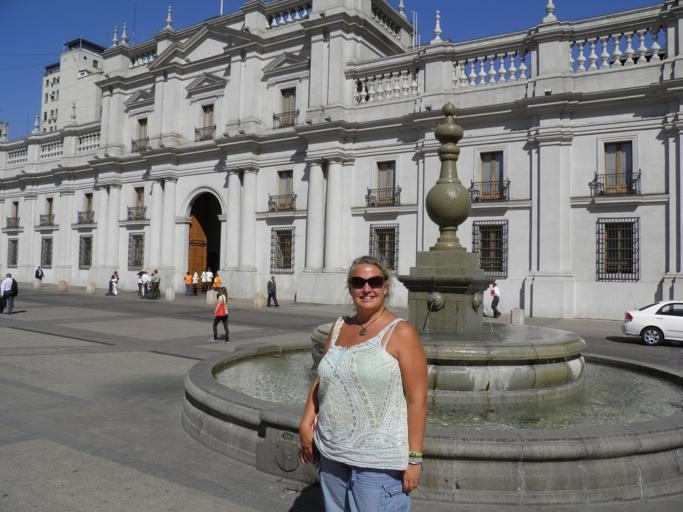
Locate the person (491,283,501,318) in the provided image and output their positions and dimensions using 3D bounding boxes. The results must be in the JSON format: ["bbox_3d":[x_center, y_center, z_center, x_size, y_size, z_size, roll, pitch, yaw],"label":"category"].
[{"bbox_3d":[6.235,1.751,29.510,0.381,1.357,1.728,0,-1,12],"label":"person"}]

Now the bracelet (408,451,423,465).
[{"bbox_3d":[1.032,2.854,10.345,0.145,0.122,0.194,0,-12,5],"label":"bracelet"}]
